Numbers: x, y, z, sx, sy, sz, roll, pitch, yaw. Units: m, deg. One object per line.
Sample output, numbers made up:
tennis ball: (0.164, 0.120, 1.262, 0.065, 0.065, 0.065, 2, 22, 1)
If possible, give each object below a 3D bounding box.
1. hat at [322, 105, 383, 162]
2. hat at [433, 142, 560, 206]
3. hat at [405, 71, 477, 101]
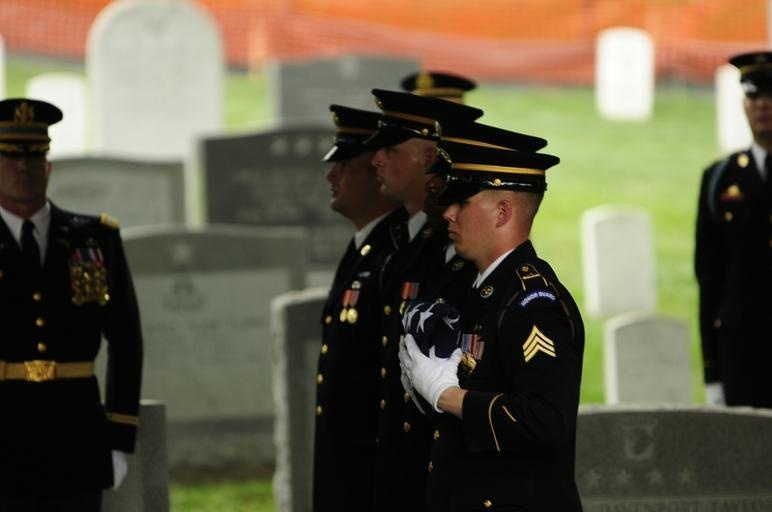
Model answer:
hat: (-0.191, -0.745, 10.876, 0.426, 0.197, 0.291, -4, 1, -19)
hat: (0.616, -0.450, 9.955, 0.499, 0.223, 0.418, -2, 2, -10)
hat: (0.388, -1.135, 12.146, 0.396, 0.134, 0.369, 6, 3, 5)
